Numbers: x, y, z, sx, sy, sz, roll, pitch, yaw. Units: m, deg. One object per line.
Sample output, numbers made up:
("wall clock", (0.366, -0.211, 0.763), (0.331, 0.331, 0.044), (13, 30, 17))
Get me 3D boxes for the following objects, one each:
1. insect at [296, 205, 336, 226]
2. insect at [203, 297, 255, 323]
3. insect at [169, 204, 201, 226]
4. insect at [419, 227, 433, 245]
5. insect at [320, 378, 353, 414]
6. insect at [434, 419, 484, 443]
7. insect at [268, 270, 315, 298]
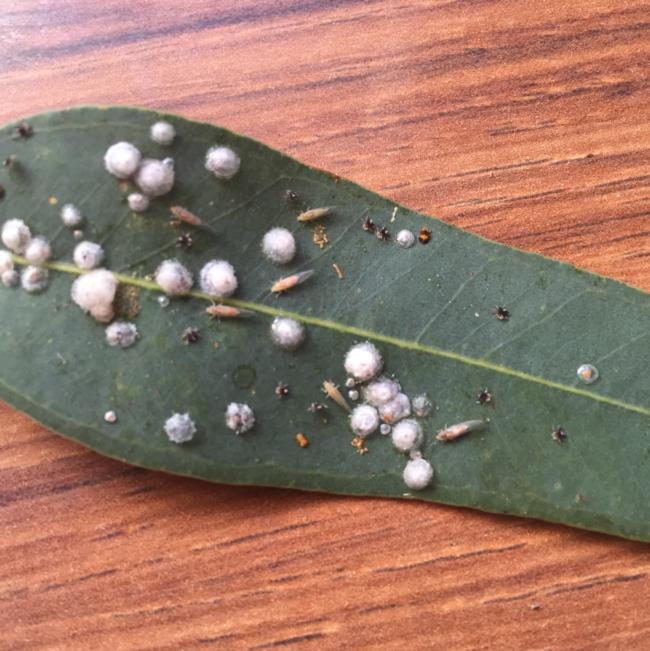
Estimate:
("insect", (-0.064, -0.722, 6.576), (0.278, 0.090, 0.086), (-15, 7, 4))
("insect", (-0.638, -0.080, 6.509), (0.326, 0.116, 0.111), (5, 4, -7))
("insect", (-0.926, -0.711, 6.535), (0.194, 0.137, 0.070), (11, 49, 28))
("insect", (0.661, -0.585, 6.514), (0.092, 0.106, 0.037), (1, 4, 3))
("insect", (0.074, 0.476, 6.583), (0.127, 0.259, 0.067), (-41, 7, -8))
("insect", (0.882, 0.696, 6.542), (0.393, 0.105, 0.119), (-16, -4, 4))
("insect", (-0.217, -0.280, 6.567), (0.352, 0.114, 0.101), (-22, 6, 9))
